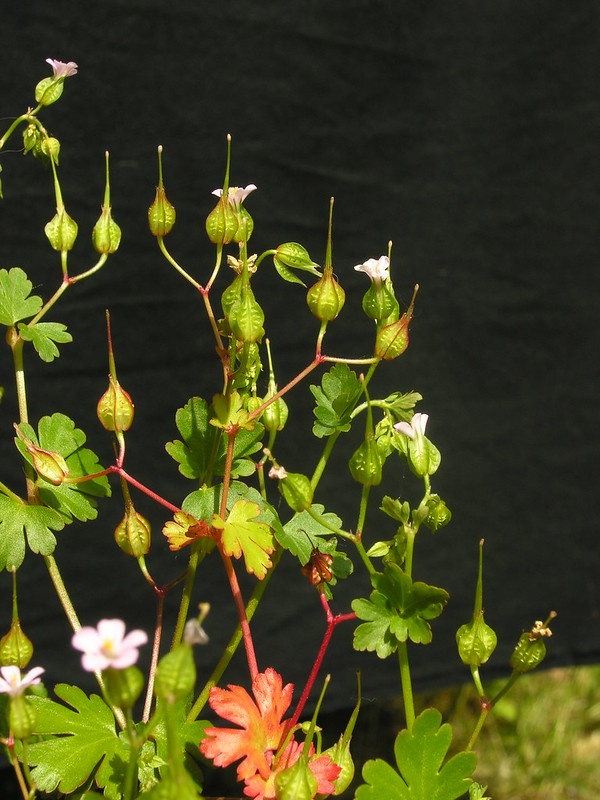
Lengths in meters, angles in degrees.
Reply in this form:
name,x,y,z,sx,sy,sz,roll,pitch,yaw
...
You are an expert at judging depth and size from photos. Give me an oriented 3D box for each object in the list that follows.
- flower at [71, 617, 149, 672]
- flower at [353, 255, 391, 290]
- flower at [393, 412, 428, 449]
name,x,y,z,sx,sy,sz,roll,pitch,yaw
flower,-0.133,0.183,0.694,0.049,0.019,0.046,-9,34,-22
flower,0.064,-0.116,0.868,0.047,0.026,0.047,9,9,1
flower,0.096,0.025,0.839,0.011,0.026,0.027,19,30,39
